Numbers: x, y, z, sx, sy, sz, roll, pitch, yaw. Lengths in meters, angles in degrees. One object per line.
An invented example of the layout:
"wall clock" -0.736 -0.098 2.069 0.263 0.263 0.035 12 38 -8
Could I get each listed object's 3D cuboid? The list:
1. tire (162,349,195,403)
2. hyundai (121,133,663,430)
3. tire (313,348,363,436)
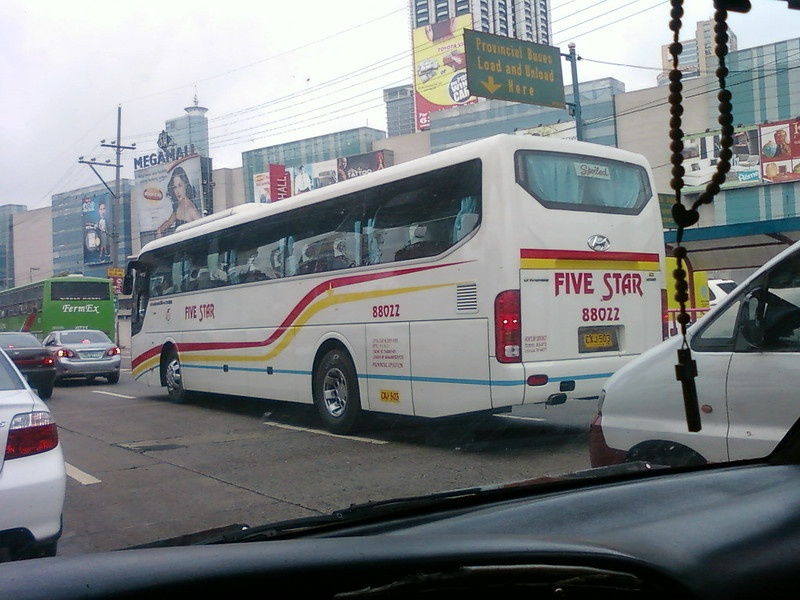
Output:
"tire" -3.741 1.253 13.068 0.328 1.020 0.899 5 -10 -41
"hyundai" -1.115 -0.014 11.750 3.091 3.170 10.161 -1 -2 -36
"tire" -0.701 1.073 9.078 0.269 0.825 0.750 -2 -27 -33
